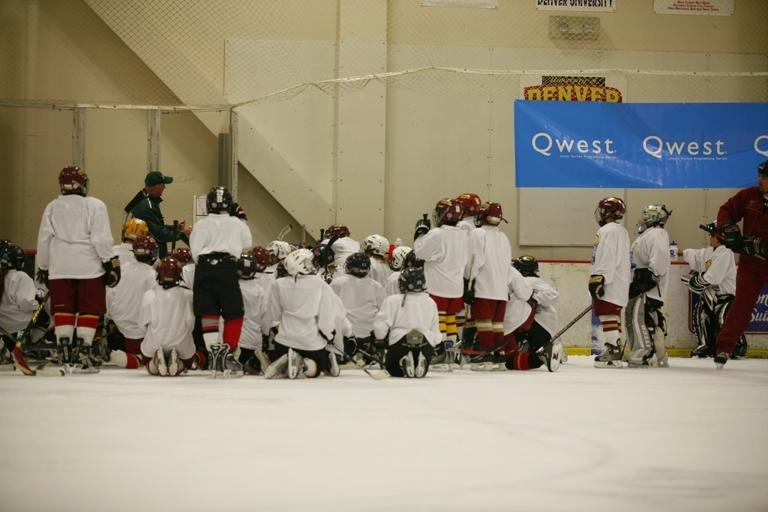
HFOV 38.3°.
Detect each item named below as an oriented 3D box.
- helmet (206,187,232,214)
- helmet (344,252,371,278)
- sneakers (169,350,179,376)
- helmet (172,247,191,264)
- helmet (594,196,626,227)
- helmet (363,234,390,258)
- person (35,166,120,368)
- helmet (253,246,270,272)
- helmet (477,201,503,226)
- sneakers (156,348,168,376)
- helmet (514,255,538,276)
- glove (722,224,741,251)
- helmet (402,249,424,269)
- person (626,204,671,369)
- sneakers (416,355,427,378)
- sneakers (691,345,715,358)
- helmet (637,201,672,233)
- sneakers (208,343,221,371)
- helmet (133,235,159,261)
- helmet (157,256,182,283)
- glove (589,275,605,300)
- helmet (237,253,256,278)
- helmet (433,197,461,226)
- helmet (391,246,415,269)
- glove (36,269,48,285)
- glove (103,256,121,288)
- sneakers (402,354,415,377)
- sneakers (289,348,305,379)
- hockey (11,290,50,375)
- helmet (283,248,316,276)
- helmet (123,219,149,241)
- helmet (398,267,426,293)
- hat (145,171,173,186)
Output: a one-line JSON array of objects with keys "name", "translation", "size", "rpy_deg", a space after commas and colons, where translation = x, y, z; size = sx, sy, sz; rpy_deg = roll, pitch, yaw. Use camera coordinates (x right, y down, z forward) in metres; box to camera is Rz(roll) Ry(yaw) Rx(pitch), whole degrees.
[{"name": "helmet", "translation": [-2.172, -0.745, 14.675], "size": [0.269, 0.364, 0.329], "rpy_deg": [2, -1, -7]}, {"name": "helmet", "translation": [-0.358, 0.159, 15.233], "size": [0.268, 0.372, 0.319], "rpy_deg": [1, -12, -27]}, {"name": "sneakers", "translation": [-2.676, 1.395, 14.219], "size": [0.111, 0.326, 0.132], "rpy_deg": [3, -3, -2]}, {"name": "helmet", "translation": [-2.822, 0.044, 15.632], "size": [0.244, 0.242, 0.207], "rpy_deg": [-16, 30, -17]}, {"name": "helmet", "translation": [3.391, -0.650, 16.379], "size": [0.433, 0.454, 0.380], "rpy_deg": [8, 7, 30]}, {"name": "helmet", "translation": [-0.092, -0.164, 16.504], "size": [0.351, 0.361, 0.280], "rpy_deg": [15, 33, 14]}, {"name": "person", "translation": [-4.088, 0.172, 14.633], "size": [1.062, 2.721, 0.544], "rpy_deg": [1, -2, 16]}, {"name": "helmet", "translation": [-1.702, 0.061, 15.458], "size": [0.238, 0.305, 0.309], "rpy_deg": [5, 31, -15]}, {"name": "helmet", "translation": [1.595, -0.587, 16.119], "size": [0.376, 0.433, 0.328], "rpy_deg": [3, 1, 40]}, {"name": "sneakers", "translation": [-2.839, 1.381, 14.186], "size": [0.113, 0.362, 0.139], "rpy_deg": [0, -5, -11]}, {"name": "helmet", "translation": [2.116, 0.155, 16.333], "size": [0.263, 0.354, 0.308], "rpy_deg": [16, 10, 8]}, {"name": "glove", "translation": [4.685, -0.233, 14.876], "size": [0.258, 0.377, 0.219], "rpy_deg": [1, -2, 17]}, {"name": "helmet", "translation": [0.392, 0.052, 15.339], "size": [0.283, 0.256, 0.597], "rpy_deg": [1, -2, 11]}, {"name": "person", "translation": [3.838, 0.441, 16.118], "size": [0.605, 2.352, 0.415], "rpy_deg": [1, -2, 13]}, {"name": "sneakers", "translation": [0.487, 1.454, 14.459], "size": [0.153, 0.294, 0.102], "rpy_deg": [15, -6, -19]}, {"name": "sneakers", "translation": [5.071, 1.550, 17.652], "size": [0.173, 0.112, 0.244], "rpy_deg": [-8, 2, -31]}, {"name": "helmet", "translation": [3.968, -0.565, 16.404], "size": [0.483, 0.500, 0.421], "rpy_deg": [13, 4, 21]}, {"name": "sneakers", "translation": [-2.165, 1.325, 14.198], "size": [0.108, 0.389, 0.147], "rpy_deg": [1, 1, -3]}, {"name": "helmet", "translation": [-3.253, -0.106, 15.224], "size": [0.267, 0.353, 0.352], "rpy_deg": [3, 12, -6]}, {"name": "helmet", "translation": [-2.799, 0.189, 14.501], "size": [0.254, 0.336, 0.344], "rpy_deg": [2, 11, -10]}, {"name": "glove", "translation": [3.078, 0.469, 15.981], "size": [0.220, 0.327, 0.304], "rpy_deg": [-1, -5, 9]}, {"name": "helmet", "translation": [-1.822, 0.156, 14.797], "size": [0.224, 0.308, 0.293], "rpy_deg": [3, 7, -14]}, {"name": "helmet", "translation": [0.949, -0.611, 16.061], "size": [0.386, 0.403, 0.316], "rpy_deg": [7, 6, 34]}, {"name": "helmet", "translation": [0.270, 0.043, 16.155], "size": [0.264, 0.346, 0.332], "rpy_deg": [0, 8, -30]}, {"name": "glove", "translation": [-4.753, 0.306, 15.436], "size": [0.196, 0.222, 0.191], "rpy_deg": [1, 25, -20]}, {"name": "glove", "translation": [-3.591, 0.223, 14.719], "size": [0.248, 0.364, 0.127], "rpy_deg": [-1, 1, 22]}, {"name": "sneakers", "translation": [0.335, 1.442, 14.424], "size": [0.107, 0.316, 0.120], "rpy_deg": [1, 15, 28]}, {"name": "sneakers", "translation": [-1.109, 1.404, 14.079], "size": [0.177, 0.425, 0.149], "rpy_deg": [-1, -4, -14]}, {"name": "hockey", "translation": [-4.507, 1.058, 14.107], "size": [0.341, 1.012, 0.117], "rpy_deg": [4, -8, 6]}, {"name": "helmet", "translation": [-1.067, 0.105, 14.271], "size": [0.345, 0.368, 0.284], "rpy_deg": [19, 14, -49]}, {"name": "helmet", "translation": [-3.472, -0.349, 15.539], "size": [0.265, 0.357, 0.330], "rpy_deg": [11, -5, -3]}, {"name": "helmet", "translation": [0.417, 0.338, 14.576], "size": [0.342, 0.332, 0.271], "rpy_deg": [3, -1, 22]}, {"name": "hat", "translation": [-3.428, -1.188, 16.947], "size": [0.395, 0.203, 0.253], "rpy_deg": [-6, 20, -30]}]
